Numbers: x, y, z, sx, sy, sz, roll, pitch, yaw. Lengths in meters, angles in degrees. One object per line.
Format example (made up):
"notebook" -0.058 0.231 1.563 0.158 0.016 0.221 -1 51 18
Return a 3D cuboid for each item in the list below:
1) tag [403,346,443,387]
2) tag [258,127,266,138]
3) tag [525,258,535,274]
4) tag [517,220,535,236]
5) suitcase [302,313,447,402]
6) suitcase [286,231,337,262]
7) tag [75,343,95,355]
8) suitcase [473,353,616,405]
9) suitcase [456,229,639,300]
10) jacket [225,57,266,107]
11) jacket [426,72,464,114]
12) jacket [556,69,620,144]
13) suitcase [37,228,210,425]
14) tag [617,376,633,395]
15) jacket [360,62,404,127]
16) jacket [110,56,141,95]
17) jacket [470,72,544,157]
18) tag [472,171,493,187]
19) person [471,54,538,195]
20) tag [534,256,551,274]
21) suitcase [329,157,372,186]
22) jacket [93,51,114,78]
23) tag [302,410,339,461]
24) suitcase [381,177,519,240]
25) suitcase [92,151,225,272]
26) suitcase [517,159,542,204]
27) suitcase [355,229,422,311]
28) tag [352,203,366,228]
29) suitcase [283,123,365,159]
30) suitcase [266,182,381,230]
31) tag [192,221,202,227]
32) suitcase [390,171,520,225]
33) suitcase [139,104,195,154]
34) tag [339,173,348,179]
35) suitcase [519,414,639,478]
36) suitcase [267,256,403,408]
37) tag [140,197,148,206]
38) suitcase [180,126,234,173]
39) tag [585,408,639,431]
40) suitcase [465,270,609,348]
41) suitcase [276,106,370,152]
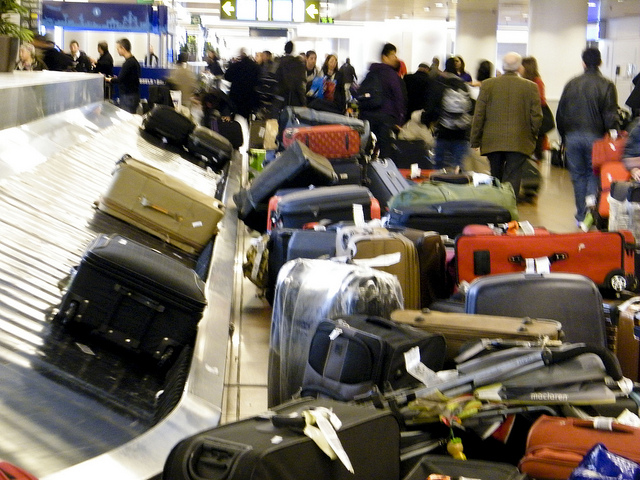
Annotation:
"tag" 0.321 0.415 1.627 0.127 0.039 0.093 46 21 17
"tag" -0.988 -1.825 8.381 0.035 0.137 0.130 8 1 -19
"tag" 1.002 0.121 2.383 0.030 0.044 0.056 1 0 6
"tag" 1.204 -0.075 2.900 0.079 0.110 0.035 -20 -20 4
"suitcase" 0.189 0.332 1.763 0.405 0.403 0.306 0 -10 31
"suitcase" -0.056 -0.018 2.992 0.241 0.169 0.178 1 9 -1
"tag" -0.965 0.441 2.028 0.069 0.005 0.062 32 7 36
"suitcase" 0.754 0.472 1.644 0.313 0.120 0.198 -8 -1 -5
"suitcase" 1.194 0.065 2.521 0.625 0.240 0.492 -1 7 -2
"jacket" -1.626 -3.400 10.746 0.833 1.019 0.376 0 16 0
"jacket" 1.674 -2.007 6.844 0.355 0.518 0.336 -14 21 -40
"jacket" 3.260 -1.656 6.049 0.710 0.791 0.311 9 18 30
"suitcase" -0.973 0.337 2.362 0.617 0.267 0.791 35 -29 -28
"tag" 1.034 0.484 1.684 0.040 0.022 0.058 1 52 -23
"jacket" 0.919 -2.192 7.585 0.857 0.956 0.534 8 12 44
"jacket" -4.311 -3.578 10.980 0.616 0.848 0.649 0 15 -6
"jacket" 2.256 -1.528 6.145 0.826 1.094 0.497 0 1 8
"tag" 1.314 -0.493 4.095 0.138 0.148 0.044 11 -4 -12
"person" 2.340 -1.453 6.268 0.786 2.129 0.590 7 51 23
"tag" 1.036 0.110 2.336 0.062 0.090 0.085 1 8 8
"suitcase" 0.309 -0.690 5.215 0.334 0.220 0.334 3 52 -5
"jacket" -5.323 -4.341 12.303 0.329 0.597 0.407 -7 17 -22
"tag" -0.006 0.447 1.140 0.045 0.034 0.125 -18 48 -38
"suitcase" 0.974 -0.215 4.055 1.221 0.442 0.898 -2 -8 -18
"suitcase" -1.243 -0.326 3.733 0.859 0.421 0.640 30 10 -37
"suitcase" 3.140 -0.896 7.441 0.256 0.562 1.095 7 18 24
"suitcase" 0.375 0.188 2.734 0.312 0.478 0.298 -6 6 -16
"tag" 0.237 -0.144 2.915 0.036 0.140 0.099 -1 2 -12
"suitcase" 0.084 -1.188 5.736 0.892 0.331 0.724 0 22 2
"suitcase" 0.003 -0.243 3.785 1.076 0.409 0.749 -1 -2 -3
"tag" -0.882 -0.121 3.542 0.054 0.039 0.015 -14 1 -1
"suitcase" 1.028 -0.346 3.986 1.046 0.416 0.837 -2 16 -11
"suitcase" -1.939 -1.362 6.326 0.739 0.563 0.537 23 8 -8
"tag" 0.237 -0.652 5.054 0.059 0.057 0.014 4 -22 -13
"suitcase" 0.757 0.538 1.435 0.239 0.091 0.189 7 23 26
"suitcase" 0.094 0.210 2.565 0.597 1.140 0.741 4 9 -2
"tag" -1.219 -0.271 3.440 0.041 0.043 0.040 12 -21 -26
"suitcase" -1.508 -1.104 6.384 0.678 0.478 0.518 5 7 -24
"tag" 0.925 0.578 1.564 0.129 0.052 0.085 3 11 -6
"suitcase" 0.904 0.294 2.091 0.338 0.322 0.116 -1 1 0
"suitcase" -0.026 -1.565 6.475 0.984 0.367 0.769 6 7 -5
